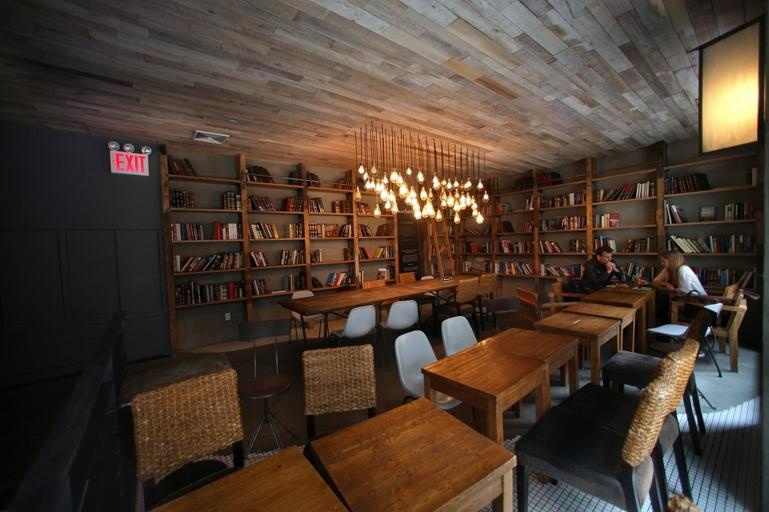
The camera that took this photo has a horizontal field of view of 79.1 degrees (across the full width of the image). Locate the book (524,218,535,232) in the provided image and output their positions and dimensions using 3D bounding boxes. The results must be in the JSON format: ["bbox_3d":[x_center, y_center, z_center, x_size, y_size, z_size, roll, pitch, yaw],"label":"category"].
[{"bbox_3d":[2.948,-0.628,9.500,0.202,0.243,0.265,0,0,-4],"label":"book"}]

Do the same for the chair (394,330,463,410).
[{"bbox_3d":[0.326,1.163,4.925,0.654,0.722,0.875,2,-4,-43],"label":"chair"}]

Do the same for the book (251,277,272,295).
[{"bbox_3d":[-2.100,0.530,7.832,0.057,0.236,0.247,-3,-2,44],"label":"book"}]

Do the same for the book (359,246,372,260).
[{"bbox_3d":[-0.365,-0.061,9.022,0.060,0.234,0.263,-7,-6,31],"label":"book"}]

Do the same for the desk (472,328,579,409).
[{"bbox_3d":[1.559,1.068,4.910,0.791,0.632,0.806,-2,1,44],"label":"desk"}]

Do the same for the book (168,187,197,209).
[{"bbox_3d":[-3.111,-0.875,7.159,0.348,0.285,0.132,-6,3,-29],"label":"book"}]

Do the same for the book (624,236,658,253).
[{"bbox_3d":[4.339,-0.169,7.907,0.285,0.275,0.070,1,-21,41],"label":"book"}]

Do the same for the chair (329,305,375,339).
[{"bbox_3d":[-0.407,0.841,6.371,0.560,0.402,0.454,-1,0,-33],"label":"chair"}]

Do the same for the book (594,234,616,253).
[{"bbox_3d":[3.834,-0.205,8.067,0.312,0.416,0.294,11,-11,-42],"label":"book"}]

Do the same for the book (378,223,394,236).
[{"bbox_3d":[0.037,-0.507,9.472,0.265,0.247,0.060,0,-11,7],"label":"book"}]

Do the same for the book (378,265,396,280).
[{"bbox_3d":[0.033,0.334,9.436,0.363,0.251,0.357,5,1,-27],"label":"book"}]

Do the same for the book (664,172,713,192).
[{"bbox_3d":[4.751,-1.127,7.317,0.500,0.447,0.346,3,23,39],"label":"book"}]

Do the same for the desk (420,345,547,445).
[{"bbox_3d":[0.910,1.113,4.492,0.927,0.694,0.964,-11,10,-41],"label":"desk"}]

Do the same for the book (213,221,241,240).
[{"bbox_3d":[-2.535,-0.400,7.564,0.377,0.341,0.269,-1,12,4],"label":"book"}]

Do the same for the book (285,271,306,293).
[{"bbox_3d":[-1.560,0.486,8.323,0.327,0.390,0.426,2,-7,-44],"label":"book"}]

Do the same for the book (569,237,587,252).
[{"bbox_3d":[3.597,-0.178,8.730,0.216,0.350,0.391,-1,1,-33],"label":"book"}]

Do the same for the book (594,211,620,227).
[{"bbox_3d":[3.959,-0.642,8.371,0.361,0.264,0.368,-5,1,4],"label":"book"}]

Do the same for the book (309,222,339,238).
[{"bbox_3d":[-1.067,-0.459,8.490,0.663,0.213,0.153,-7,3,-44],"label":"book"}]

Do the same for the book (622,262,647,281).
[{"bbox_3d":[4.238,0.261,7.949,0.412,0.285,0.429,-7,3,-38],"label":"book"}]

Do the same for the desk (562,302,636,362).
[{"bbox_3d":[3.148,0.894,6.428,0.676,0.739,1.240,7,8,36],"label":"desk"}]

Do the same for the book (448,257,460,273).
[{"bbox_3d":[1.532,0.194,10.251,0.194,0.335,0.368,0,0,33],"label":"book"}]

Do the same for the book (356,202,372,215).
[{"bbox_3d":[-0.406,-0.908,8.942,0.133,0.207,0.227,-26,11,16],"label":"book"}]

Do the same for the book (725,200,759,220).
[{"bbox_3d":[5.277,-0.644,6.907,0.352,0.320,0.260,0,5,41],"label":"book"}]

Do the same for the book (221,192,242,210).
[{"bbox_3d":[-2.447,-0.844,7.646,0.275,0.340,0.367,0,2,11],"label":"book"}]

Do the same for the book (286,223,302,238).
[{"bbox_3d":[-1.609,-0.427,8.311,0.244,0.300,0.323,-2,4,-23],"label":"book"}]

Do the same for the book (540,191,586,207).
[{"bbox_3d":[3.384,-1.053,8.917,0.353,0.262,0.961,-6,3,-27],"label":"book"}]

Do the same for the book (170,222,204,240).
[{"bbox_3d":[-3.056,-0.360,7.263,0.468,0.415,0.249,1,-3,-44],"label":"book"}]

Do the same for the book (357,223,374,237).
[{"bbox_3d":[-0.376,-0.496,9.043,0.262,0.246,0.068,-4,7,-45],"label":"book"}]

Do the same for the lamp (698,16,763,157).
[{"bbox_3d":[3.232,-1.572,4.345,0.237,1.126,0.503,-7,3,-35],"label":"lamp"}]

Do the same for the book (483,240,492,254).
[{"bbox_3d":[2.268,-0.203,10.366,0.233,0.299,0.229,0,-1,4],"label":"book"}]

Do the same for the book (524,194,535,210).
[{"bbox_3d":[2.956,-1.077,9.458,0.245,0.310,0.321,0,3,21],"label":"book"}]

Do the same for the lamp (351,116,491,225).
[{"bbox_3d":[0.397,-1.441,7.888,1.777,0.750,1.722,4,-6,-39],"label":"lamp"}]

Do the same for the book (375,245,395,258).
[{"bbox_3d":[-0.011,-0.085,9.296,0.333,0.241,0.337,1,1,-18],"label":"book"}]

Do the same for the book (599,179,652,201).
[{"bbox_3d":[4.183,-1.104,8.074,0.251,0.292,0.971,-7,3,-37],"label":"book"}]

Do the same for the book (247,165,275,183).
[{"bbox_3d":[-2.090,-1.370,7.821,0.171,0.278,0.304,-22,-2,42],"label":"book"}]

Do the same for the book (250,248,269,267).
[{"bbox_3d":[-2.103,0.062,7.789,0.063,0.262,0.279,-3,-2,41],"label":"book"}]

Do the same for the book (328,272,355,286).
[{"bbox_3d":[-0.812,0.427,8.675,0.534,0.207,0.291,-5,2,-19],"label":"book"}]

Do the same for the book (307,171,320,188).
[{"bbox_3d":[-1.264,-1.388,8.418,0.183,0.212,0.454,-4,2,22],"label":"book"}]

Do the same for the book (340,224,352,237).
[{"bbox_3d":[-0.719,-0.462,8.760,0.209,0.261,0.278,1,-6,-8],"label":"book"}]

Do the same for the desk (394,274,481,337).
[{"bbox_3d":[1.035,0.715,7.776,1.090,0.707,1.059,-4,5,-43],"label":"desk"}]

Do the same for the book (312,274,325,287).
[{"bbox_3d":[-1.194,0.460,8.439,0.059,0.198,0.221,-23,5,43],"label":"book"}]

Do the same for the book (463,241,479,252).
[{"bbox_3d":[1.993,-0.189,10.689,0.305,0.276,0.225,4,11,21],"label":"book"}]

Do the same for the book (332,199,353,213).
[{"bbox_3d":[-0.779,-0.917,8.745,0.254,0.314,0.345,2,-5,-40],"label":"book"}]
